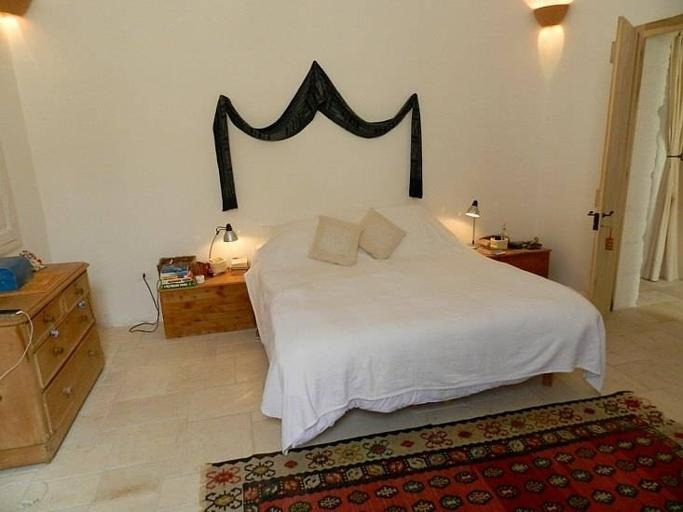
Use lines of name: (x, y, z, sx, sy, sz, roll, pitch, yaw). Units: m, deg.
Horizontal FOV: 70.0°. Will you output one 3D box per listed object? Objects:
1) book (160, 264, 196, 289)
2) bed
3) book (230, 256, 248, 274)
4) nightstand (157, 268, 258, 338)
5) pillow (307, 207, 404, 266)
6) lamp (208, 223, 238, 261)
book: (-1.590, 0.202, 4.717, 0.240, 0.148, 0.237, -5, 19, -18)
bed: (0.311, 0.393, 3.988, 1.747, 0.754, 1.730, -8, 22, -18)
book: (-1.052, 0.088, 5.056, 0.159, 0.049, 0.160, -5, 21, -18)
nightstand: (-1.352, 0.409, 4.871, 1.097, 0.585, 0.588, -7, 27, -6)
pillow: (0.153, -0.217, 4.716, 0.706, 0.141, 0.541, -6, 59, -10)
lamp: (-1.205, -0.122, 4.950, 0.306, 0.472, 0.132, 6, 33, 0)
